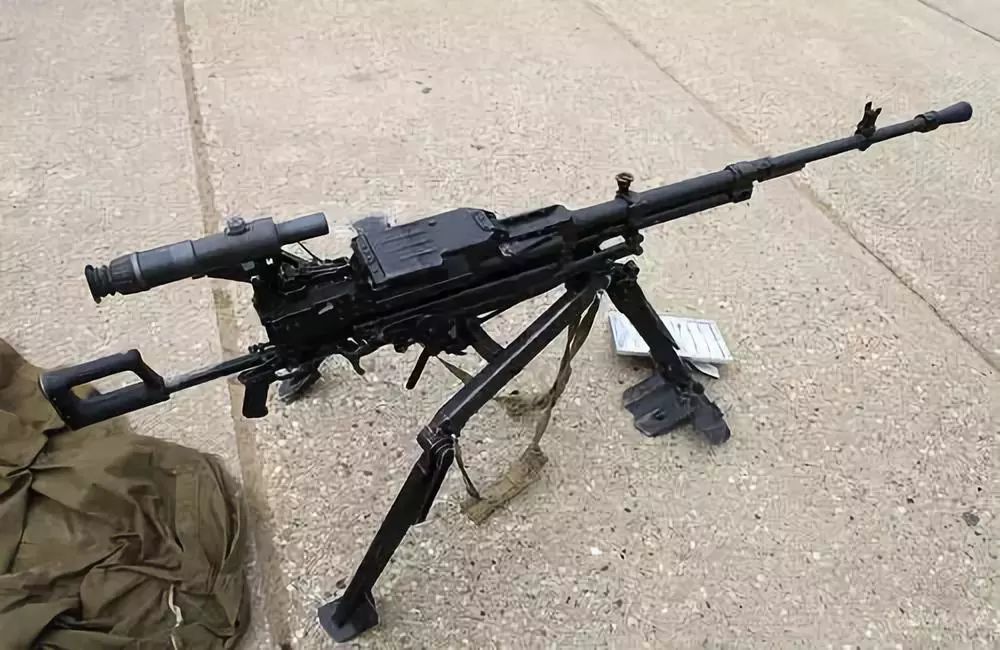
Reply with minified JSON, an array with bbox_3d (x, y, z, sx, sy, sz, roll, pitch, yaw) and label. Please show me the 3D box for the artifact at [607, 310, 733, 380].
[{"bbox_3d":[2.150,0.222,9.907,0.828,0.264,1.205,16,19,5],"label":"artifact"}]
